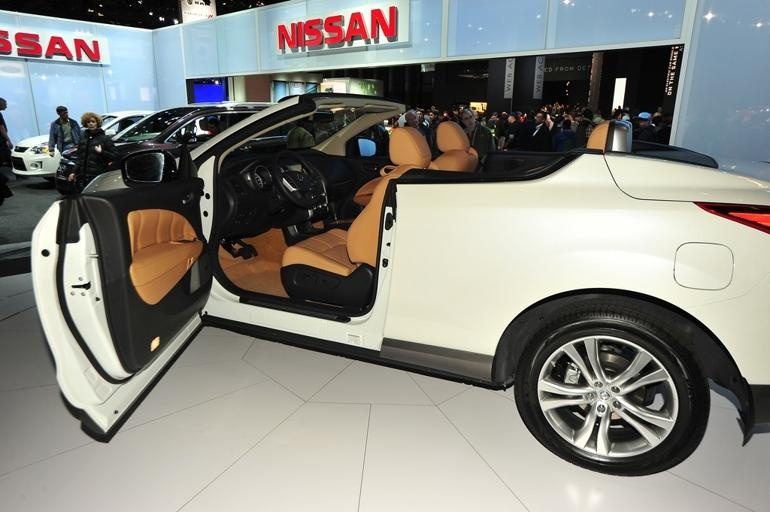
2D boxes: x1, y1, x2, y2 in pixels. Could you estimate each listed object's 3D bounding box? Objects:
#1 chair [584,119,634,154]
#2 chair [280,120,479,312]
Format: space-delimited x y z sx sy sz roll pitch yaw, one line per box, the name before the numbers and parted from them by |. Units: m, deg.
chair | 1.241 -0.662 2.312 0.219 0.172 0.490 8 25 24
chair | -0.012 -0.374 3.154 1.502 1.419 0.992 9 17 23
